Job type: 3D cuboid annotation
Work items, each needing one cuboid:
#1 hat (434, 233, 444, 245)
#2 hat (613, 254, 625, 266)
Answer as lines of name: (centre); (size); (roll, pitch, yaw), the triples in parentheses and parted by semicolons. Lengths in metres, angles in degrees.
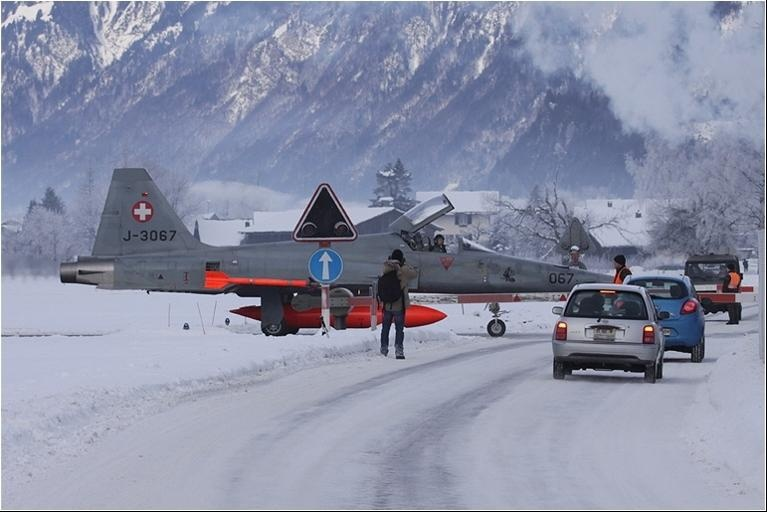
hat: (1.786, -0.546, 26.877); (0.259, 0.327, 0.288); (-2, 23, 5)
hat: (5.689, 0.093, 20.191); (0.317, 0.295, 0.074); (-4, 4, -44)
